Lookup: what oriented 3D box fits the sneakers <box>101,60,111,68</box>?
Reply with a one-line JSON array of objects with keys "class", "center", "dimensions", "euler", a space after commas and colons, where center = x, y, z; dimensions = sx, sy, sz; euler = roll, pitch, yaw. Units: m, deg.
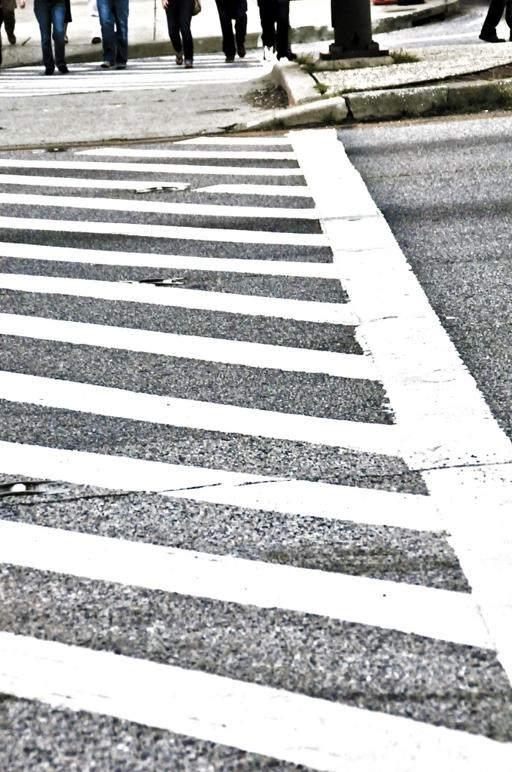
[{"class": "sneakers", "center": [-1.918, -4.059, 18.996], "dimensions": [0.087, 0.130, 0.274], "euler": [-1, 11, -2]}]
